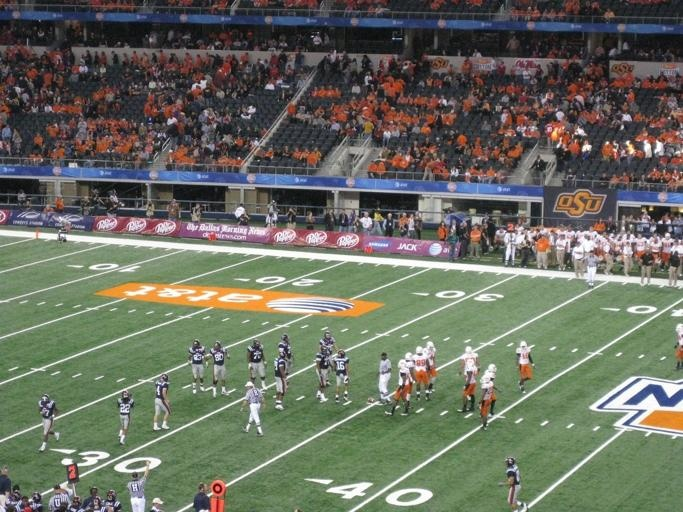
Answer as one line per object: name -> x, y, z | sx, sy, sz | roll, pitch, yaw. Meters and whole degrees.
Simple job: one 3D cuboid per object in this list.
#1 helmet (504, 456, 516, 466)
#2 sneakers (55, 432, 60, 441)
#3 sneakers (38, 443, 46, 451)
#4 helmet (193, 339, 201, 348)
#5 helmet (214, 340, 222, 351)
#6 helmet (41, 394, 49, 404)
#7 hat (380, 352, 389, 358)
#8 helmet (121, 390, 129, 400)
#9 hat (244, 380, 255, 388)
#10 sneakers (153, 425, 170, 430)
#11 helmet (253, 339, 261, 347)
helmet -> 5.059, 6.125, 42.929 | 0.290, 0.240, 0.229 | 4, 3, 9
sneakers -> -9.313, 5.864, 46.942 | 0.174, 0.222, 0.302 | -1, 6, -13
sneakers -> -9.640, 6.160, 46.312 | 0.115, 0.225, 0.331 | 13, 5, -1
helmet -> -4.974, 3.010, 49.237 | 0.223, 0.260, 0.289 | -1, 0, -3
helmet -> -4.236, 3.028, 48.890 | 0.205, 0.296, 0.275 | 4, 4, 9
helmet -> -9.536, 4.596, 46.399 | 0.262, 0.332, 0.293 | 10, -8, -36
hat -> 1.459, 3.349, 48.340 | 0.233, 0.239, 0.185 | -10, 27, -9
helmet -> -6.977, 4.455, 46.436 | 0.236, 0.234, 0.357 | -1, 6, -13
hat -> -3.008, 4.227, 46.977 | 0.257, 0.202, 0.376 | 2, 11, 1
sneakers -> -5.945, 5.652, 47.454 | 0.564, 0.258, 0.197 | -2, 12, -10
helmet -> -2.902, 2.960, 49.183 | 0.205, 0.282, 0.258 | 4, -27, -13
